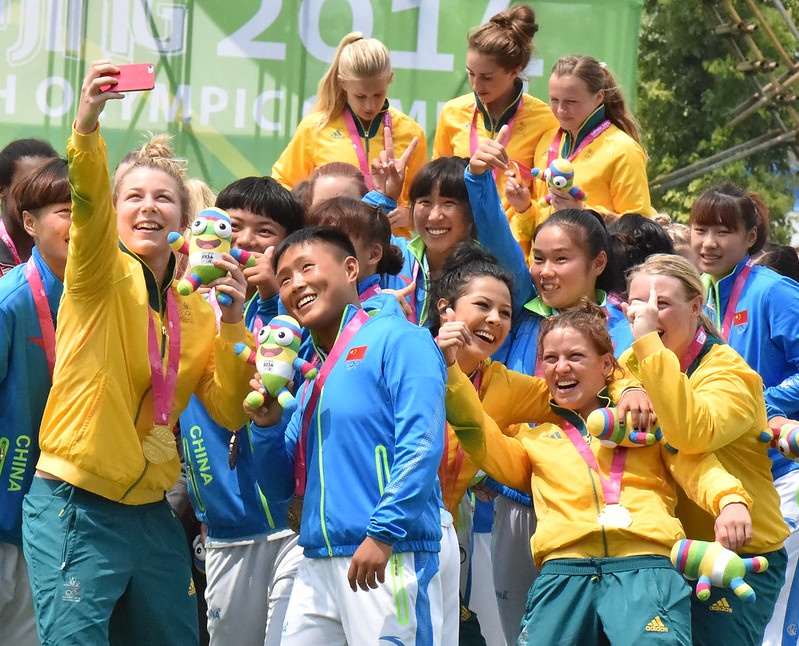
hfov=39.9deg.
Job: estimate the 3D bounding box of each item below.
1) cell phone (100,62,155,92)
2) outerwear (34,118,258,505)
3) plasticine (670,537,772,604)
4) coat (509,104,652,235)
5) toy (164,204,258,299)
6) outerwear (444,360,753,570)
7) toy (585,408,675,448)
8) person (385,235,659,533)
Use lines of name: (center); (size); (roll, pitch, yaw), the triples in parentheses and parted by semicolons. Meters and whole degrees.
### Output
cell phone: (-1.324, -1.193, 5.362); (0.318, 0.182, 0.032); (-6, -8, -21)
outerwear: (-1.319, 0.023, 5.761); (0.947, 1.856, 0.656); (3, -7, -29)
plasticine: (1.583, 1.231, 5.547); (0.335, 0.355, 0.133); (31, -34, 25)
coat: (1.311, -1.107, 8.119); (0.604, 1.083, 0.819); (8, -17, -24)
toy: (-1.030, -0.388, 6.053); (0.461, 0.641, 0.203); (9, -42, -10)
outerwear: (1.131, 0.744, 6.009); (1.177, 0.895, 0.419); (-3, -43, 3)
toy: (1.212, 0.584, 5.858); (0.361, 0.214, 0.192); (14, 26, -13)
person: (0.696, 0.392, 6.158); (1.167, 2.108, 0.612); (-18, 2, -15)
